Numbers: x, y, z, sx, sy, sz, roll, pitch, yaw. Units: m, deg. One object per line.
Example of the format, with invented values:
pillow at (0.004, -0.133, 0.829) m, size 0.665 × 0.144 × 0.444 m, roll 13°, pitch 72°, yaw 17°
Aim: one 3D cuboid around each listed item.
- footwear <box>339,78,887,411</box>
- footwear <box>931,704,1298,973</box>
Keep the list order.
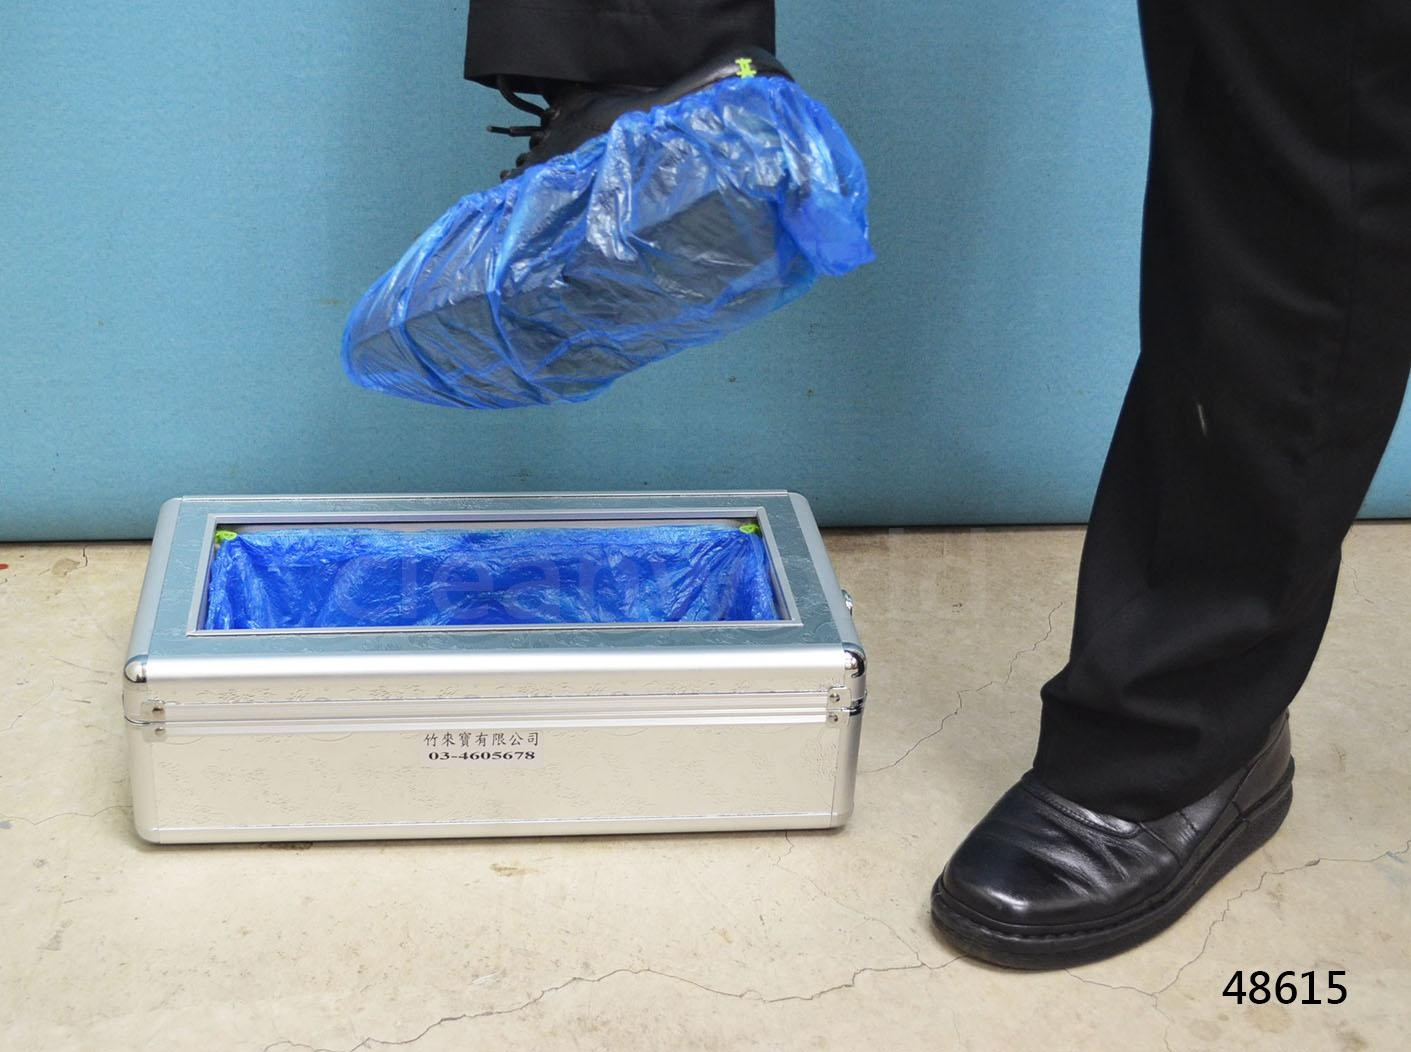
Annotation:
footwear at (-0.089, -0.247, 1.467) m, size 0.531 × 0.158 × 0.262 m, roll -14°, pitch 23°, yaw 16°
footwear at (0.424, 0.296, 1.484) m, size 0.469 × 0.150 × 0.182 m, roll -21°, pitch 33°, yaw -31°
